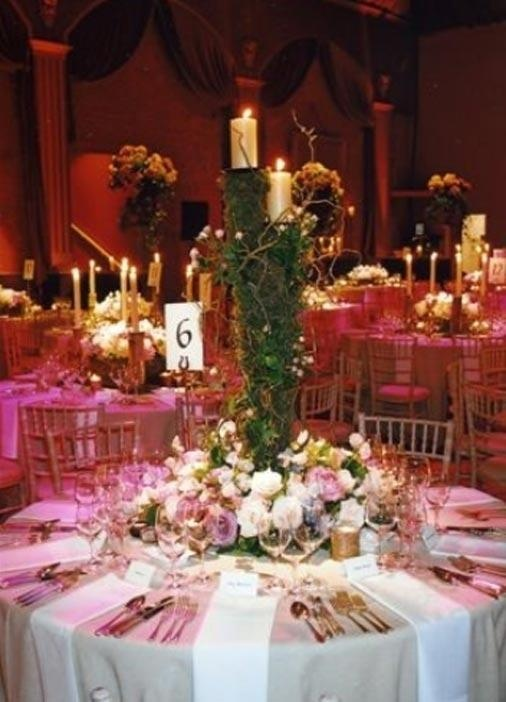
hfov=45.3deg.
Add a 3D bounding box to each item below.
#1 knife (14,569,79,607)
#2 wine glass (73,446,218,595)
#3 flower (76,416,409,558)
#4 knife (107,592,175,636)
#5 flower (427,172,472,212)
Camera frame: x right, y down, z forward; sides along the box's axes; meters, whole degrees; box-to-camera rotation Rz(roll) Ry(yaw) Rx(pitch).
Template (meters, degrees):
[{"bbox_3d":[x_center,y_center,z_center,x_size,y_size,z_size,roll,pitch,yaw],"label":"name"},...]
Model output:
[{"bbox_3d":[-0.474,0.548,1.413,0.039,0.030,0.112,1,7,14],"label":"knife"},{"bbox_3d":[-0.274,0.427,1.579,0.267,0.215,0.302,-4,-5,-23],"label":"wine glass"},{"bbox_3d":[0.058,0.393,1.649,0.507,0.232,0.488,-8,8,12],"label":"flower"},{"bbox_3d":[-0.225,0.537,1.259,0.036,0.031,0.177,11,15,32],"label":"knife"},{"bbox_3d":[3.466,-2.826,10.752,0.611,0.587,1.045,0,4,18],"label":"flower"}]
